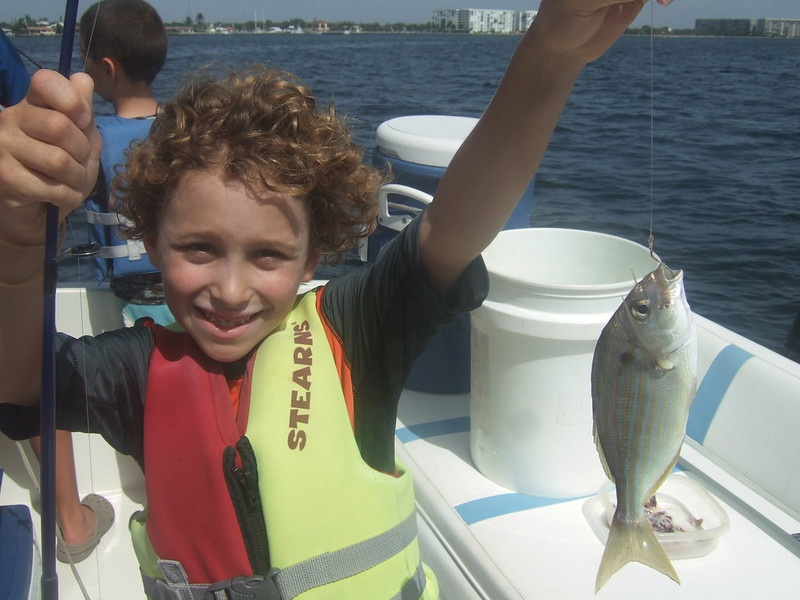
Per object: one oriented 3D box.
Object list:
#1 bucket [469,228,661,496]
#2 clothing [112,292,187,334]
[{"bbox_3d":[0.492,0.193,3.521,0.923,1.062,0.929,1,22,0],"label":"bucket"},{"bbox_3d":[-1.072,0.051,3.469,0.162,0.136,0.145,-2,34,9],"label":"clothing"}]
